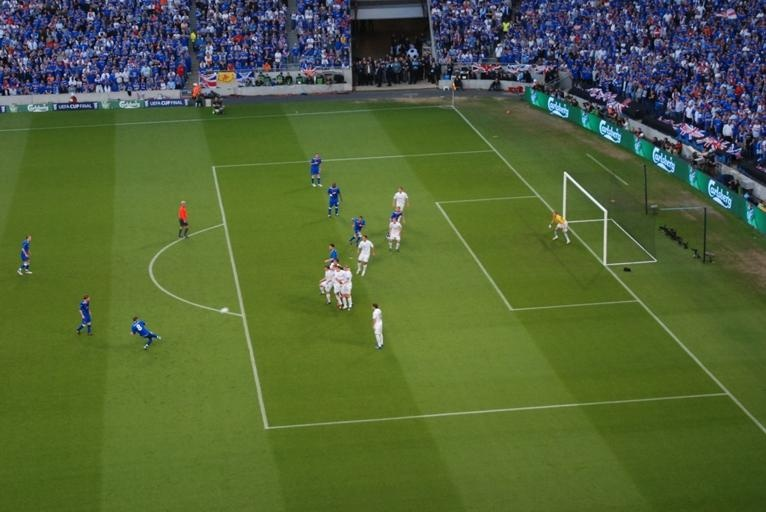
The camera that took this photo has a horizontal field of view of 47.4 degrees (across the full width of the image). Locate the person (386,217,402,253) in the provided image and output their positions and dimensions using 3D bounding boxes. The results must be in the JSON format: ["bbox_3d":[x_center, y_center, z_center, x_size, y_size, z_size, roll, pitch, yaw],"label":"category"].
[{"bbox_3d":[0.612,-1.388,50.668,0.746,1.867,1.076,-2,26,1],"label":"person"}]

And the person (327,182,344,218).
[{"bbox_3d":[-3.075,-3.643,54.200,0.768,1.962,1.608,-2,26,0],"label":"person"}]

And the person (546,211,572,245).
[{"bbox_3d":[10.455,-1.636,52.323,1.038,1.831,0.789,-23,43,-5],"label":"person"}]

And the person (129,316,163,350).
[{"bbox_3d":[-11.807,3.919,43.374,0.938,1.694,0.957,-10,50,27],"label":"person"}]
